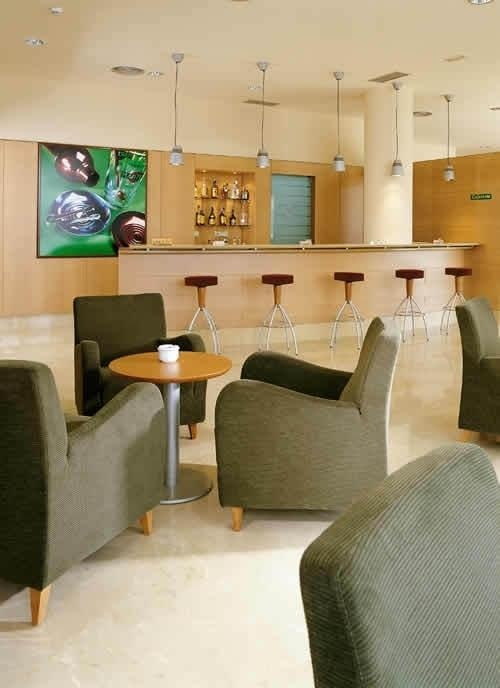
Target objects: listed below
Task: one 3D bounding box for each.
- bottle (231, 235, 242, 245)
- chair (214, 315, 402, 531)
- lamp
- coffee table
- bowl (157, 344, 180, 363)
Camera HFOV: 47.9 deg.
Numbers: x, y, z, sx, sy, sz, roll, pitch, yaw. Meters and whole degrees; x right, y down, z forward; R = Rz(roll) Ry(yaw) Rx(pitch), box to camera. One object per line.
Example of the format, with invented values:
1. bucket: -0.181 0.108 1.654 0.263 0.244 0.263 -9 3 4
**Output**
1. bottle: -0.237 -1.810 9.750 0.188 0.140 0.174 1 10 0
2. chair: 0.215 0.337 2.827 0.932 1.026 0.939 0 1 5
3. lamp: 1.148 -3.214 8.711 5.142 1.305 2.732 -2 10 -18
4. coffee table: -0.415 0.421 2.942 0.708 0.738 0.686 -2 4 -24
5. bowl: -0.437 0.051 3.033 0.092 0.075 0.094 1 9 0
